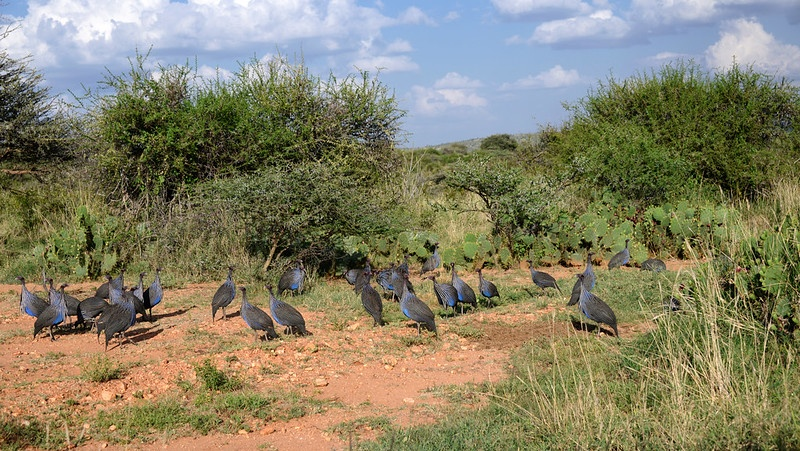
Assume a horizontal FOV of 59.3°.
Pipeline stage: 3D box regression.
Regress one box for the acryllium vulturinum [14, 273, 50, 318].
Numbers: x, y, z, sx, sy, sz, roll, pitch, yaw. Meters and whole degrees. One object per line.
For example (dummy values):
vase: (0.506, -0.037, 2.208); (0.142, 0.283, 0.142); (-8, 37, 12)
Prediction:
acryllium vulturinum: (-10.288, 2.020, 19.806); (0.519, 1.240, 1.998); (-9, 4, -40)
